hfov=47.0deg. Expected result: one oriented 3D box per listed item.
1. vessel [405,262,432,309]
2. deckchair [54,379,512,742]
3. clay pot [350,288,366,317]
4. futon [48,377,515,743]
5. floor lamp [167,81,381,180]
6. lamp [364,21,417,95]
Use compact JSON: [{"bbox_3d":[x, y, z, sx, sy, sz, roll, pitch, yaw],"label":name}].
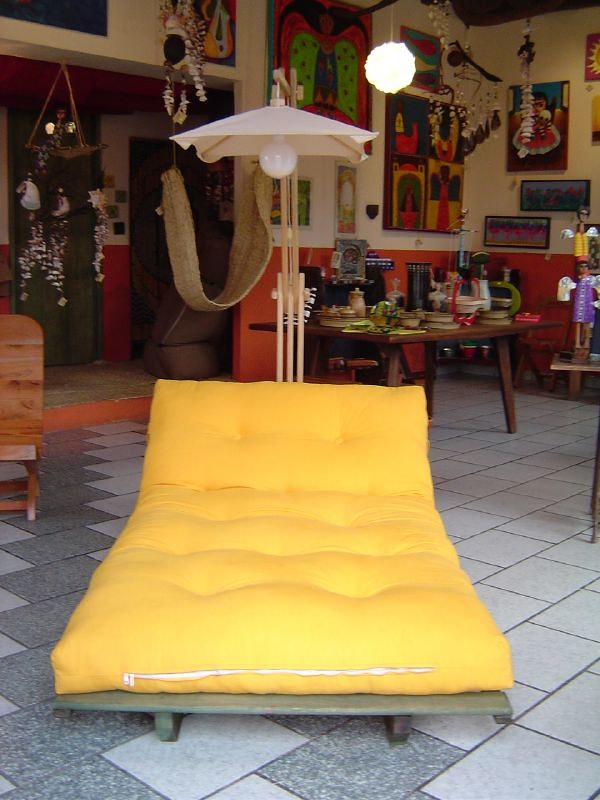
[{"bbox_3d":[0.997,-0.958,5.763,0.193,0.414,0.562,3,7,9],"label":"vessel"},{"bbox_3d":[-0.066,0.351,2.177,1.200,0.484,1.360,-1,19,-8],"label":"deckchair"},{"bbox_3d":[0.436,-0.726,5.186,0.124,0.221,0.355,2,6,4],"label":"clay pot"},{"bbox_3d":[-0.051,0.363,2.174,1.115,0.489,1.355,0,19,-1],"label":"futon"},{"bbox_3d":[-0.108,-1.270,3.369,0.704,0.346,0.738,4,8,37],"label":"floor lamp"},{"bbox_3d":[0.690,-2.579,5.279,0.338,0.322,0.407,1,6,0],"label":"lamp"}]
